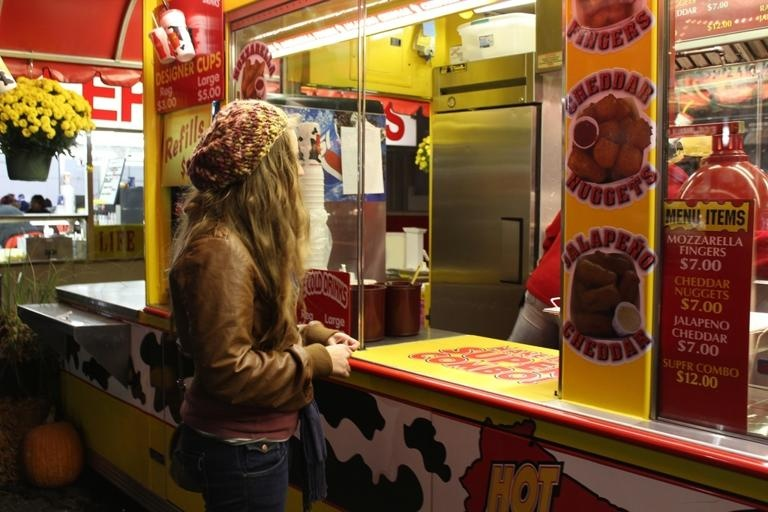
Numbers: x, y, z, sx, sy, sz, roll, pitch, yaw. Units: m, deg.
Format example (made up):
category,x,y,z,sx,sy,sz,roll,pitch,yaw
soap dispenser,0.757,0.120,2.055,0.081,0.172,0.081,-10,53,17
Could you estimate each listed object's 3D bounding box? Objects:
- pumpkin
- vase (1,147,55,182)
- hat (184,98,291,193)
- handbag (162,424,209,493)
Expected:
category,x,y,z,sx,sy,sz,roll,pitch,yaw
pumpkin,-2.441,1.478,4.527,0.434,0.554,0.423,-5,-2,18
vase,-3.044,-0.786,5.027,0.311,0.211,0.316,0,-1,-15
hat,-0.453,-0.341,1.969,0.251,0.325,0.115,30,-14,48
handbag,-0.634,0.678,2.009,0.124,0.217,0.174,1,3,-3
